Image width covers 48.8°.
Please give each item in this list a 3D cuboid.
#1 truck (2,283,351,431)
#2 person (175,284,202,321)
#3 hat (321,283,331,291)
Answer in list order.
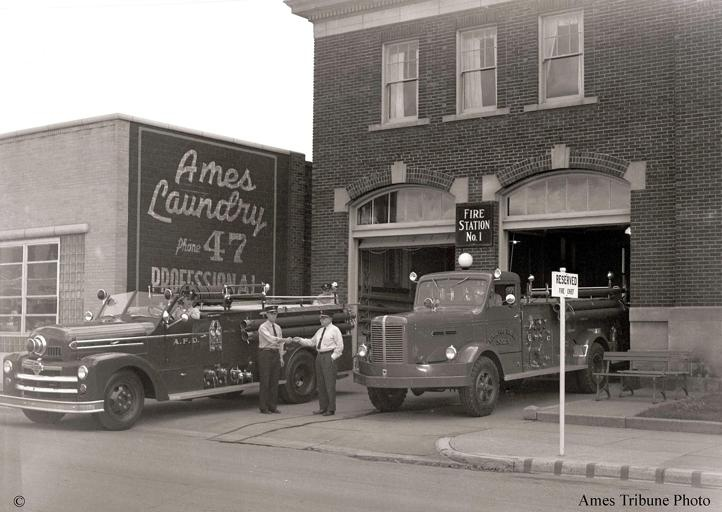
[{"bbox_3d":[-3.899,2.123,19.964,3.590,3.066,8.261,-7,-11,39],"label":"truck"},{"bbox_3d":[-4.067,1.112,18.914,0.528,0.783,0.238,2,-7,-39],"label":"person"},{"bbox_3d":[-0.931,0.874,22.552,0.264,0.297,0.086,-8,-4,7],"label":"hat"}]
